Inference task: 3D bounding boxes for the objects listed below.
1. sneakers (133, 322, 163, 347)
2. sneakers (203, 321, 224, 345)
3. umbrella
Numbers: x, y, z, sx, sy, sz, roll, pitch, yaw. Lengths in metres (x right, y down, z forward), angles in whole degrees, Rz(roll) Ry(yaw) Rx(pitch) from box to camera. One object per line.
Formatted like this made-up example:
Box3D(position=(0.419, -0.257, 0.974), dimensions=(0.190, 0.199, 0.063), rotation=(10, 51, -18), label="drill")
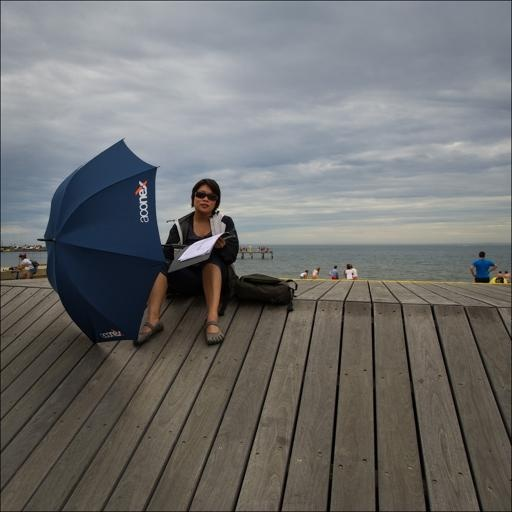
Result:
Box3D(position=(-0.966, 0.694, 3.310), dimensions=(0.105, 0.137, 0.298), rotation=(0, 21, 31), label="sneakers")
Box3D(position=(-0.364, 0.679, 3.168), dimensions=(0.176, 0.185, 0.169), rotation=(-7, 11, -7), label="sneakers")
Box3D(position=(-1.150, -0.107, 2.787), dimensions=(0.418, 1.413, 1.255), rotation=(-6, -21, -41), label="umbrella")
